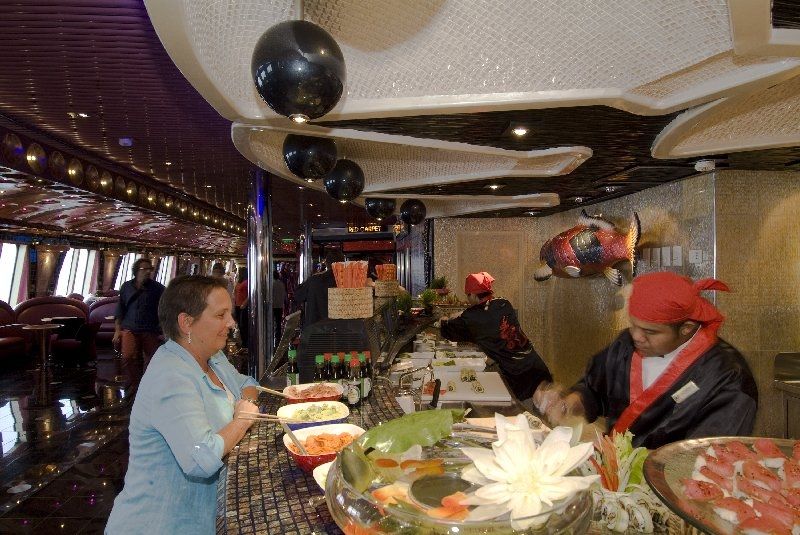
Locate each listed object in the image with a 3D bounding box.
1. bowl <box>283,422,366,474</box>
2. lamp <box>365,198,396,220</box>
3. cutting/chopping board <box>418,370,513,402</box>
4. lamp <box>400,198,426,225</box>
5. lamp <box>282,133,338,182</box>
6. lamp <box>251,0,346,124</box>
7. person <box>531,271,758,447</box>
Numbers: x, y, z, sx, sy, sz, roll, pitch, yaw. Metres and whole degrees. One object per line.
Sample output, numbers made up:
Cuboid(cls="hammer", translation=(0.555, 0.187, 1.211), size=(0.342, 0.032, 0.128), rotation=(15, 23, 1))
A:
Cuboid(cls="bowl", translation=(-0.416, 0.945, 2.874), size=(0.434, 0.272, 0.298), rotation=(-5, 5, -14))
Cuboid(cls="lamp", translation=(-0.231, -0.696, 6.050), size=(0.311, 0.235, 0.323), rotation=(-4, 5, -7))
Cuboid(cls="cutting/chopping board", translation=(0.654, 1.002, 4.464), size=(0.553, 0.027, 0.589), rotation=(0, 4, 1))
Cuboid(cls="lamp", translation=(0.122, -0.688, 6.345), size=(0.327, 0.332, 0.313), rotation=(-11, 16, -41))
Cuboid(cls="lamp", translation=(-0.666, -0.830, 3.873), size=(0.394, 0.391, 0.370), rotation=(-3, -6, 4))
Cuboid(cls="lamp", translation=(-0.524, -1.031, 2.802), size=(0.477, 0.487, 0.459), rotation=(7, -7, -36))
Cuboid(cls="person", translation=(1.606, 0.618, 3.442), size=(1.236, 1.188, 0.758), rotation=(-3, 5, 5))
